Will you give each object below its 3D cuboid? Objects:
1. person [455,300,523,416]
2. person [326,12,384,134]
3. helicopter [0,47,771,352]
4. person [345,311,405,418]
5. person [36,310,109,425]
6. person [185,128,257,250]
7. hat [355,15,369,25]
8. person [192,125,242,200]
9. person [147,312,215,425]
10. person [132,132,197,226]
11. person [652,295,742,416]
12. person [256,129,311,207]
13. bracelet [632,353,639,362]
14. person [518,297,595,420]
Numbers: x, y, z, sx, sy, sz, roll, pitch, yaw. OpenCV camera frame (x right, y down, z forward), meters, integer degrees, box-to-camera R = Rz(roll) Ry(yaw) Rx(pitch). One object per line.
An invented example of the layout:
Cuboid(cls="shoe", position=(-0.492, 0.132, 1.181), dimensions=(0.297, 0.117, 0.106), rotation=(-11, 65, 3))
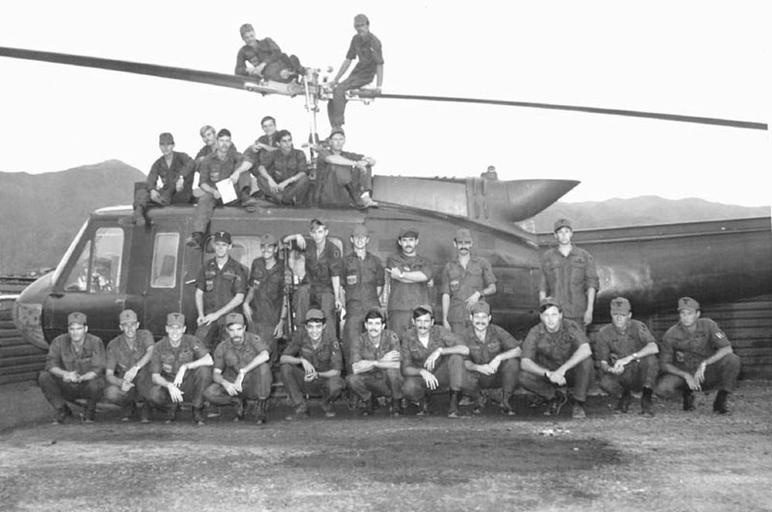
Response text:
Cuboid(cls="person", position=(1.340, 1.362, 9.276), dimensions=(0.984, 1.410, 0.819), rotation=(-5, 4, -2))
Cuboid(cls="person", position=(-0.456, -2.777, 9.924), dimensions=(0.813, 1.818, 0.623), rotation=(-1, -7, 3))
Cuboid(cls="helicopter", position=(0.339, -0.176, 10.384), dimensions=(7.170, 2.522, 6.132), rotation=(1, -5, 1))
Cuboid(cls="person", position=(-0.157, 1.417, 9.171), dimensions=(0.758, 1.385, 0.380), rotation=(0, -7, 0))
Cuboid(cls="person", position=(-4.132, 1.451, 8.998), dimensions=(0.813, 1.408, 0.428), rotation=(2, -7, -17))
Cuboid(cls="person", position=(-2.539, -0.936, 10.275), dimensions=(1.038, 1.738, 1.124), rotation=(0, -36, -11))
Cuboid(cls="hat", position=(-0.353, -3.400, 9.929), dimensions=(0.149, 0.163, 0.180), rotation=(-4, -45, 4))
Cuboid(cls="person", position=(-2.485, -1.388, 10.372), dimensions=(0.762, 0.980, 0.733), rotation=(-1, 1, -7))
Cuboid(cls="person", position=(-2.656, 1.444, 8.927), dimensions=(0.831, 1.388, 0.428), rotation=(-3, -7, 17))
Cuboid(cls="person", position=(-3.384, -1.222, 10.332), dimensions=(0.916, 1.361, 1.037), rotation=(-2, 5, 43))
Cuboid(cls="person", position=(4.184, 1.322, 9.139), dimensions=(1.043, 1.414, 0.884), rotation=(-7, 2, 33))
Cuboid(cls="person", position=(-1.552, -1.353, 10.389), dimensions=(0.752, 1.035, 0.725), rotation=(1, 24, -1))
Cuboid(cls="bracelet", position=(3.299, 1.314, 8.981), dimensions=(0.075, 0.091, 0.133), rotation=(-3, -7, 18))
Cuboid(cls="person", position=(2.268, 1.330, 9.114), dimensions=(0.957, 1.527, 0.599), rotation=(-4, -7, 24))
